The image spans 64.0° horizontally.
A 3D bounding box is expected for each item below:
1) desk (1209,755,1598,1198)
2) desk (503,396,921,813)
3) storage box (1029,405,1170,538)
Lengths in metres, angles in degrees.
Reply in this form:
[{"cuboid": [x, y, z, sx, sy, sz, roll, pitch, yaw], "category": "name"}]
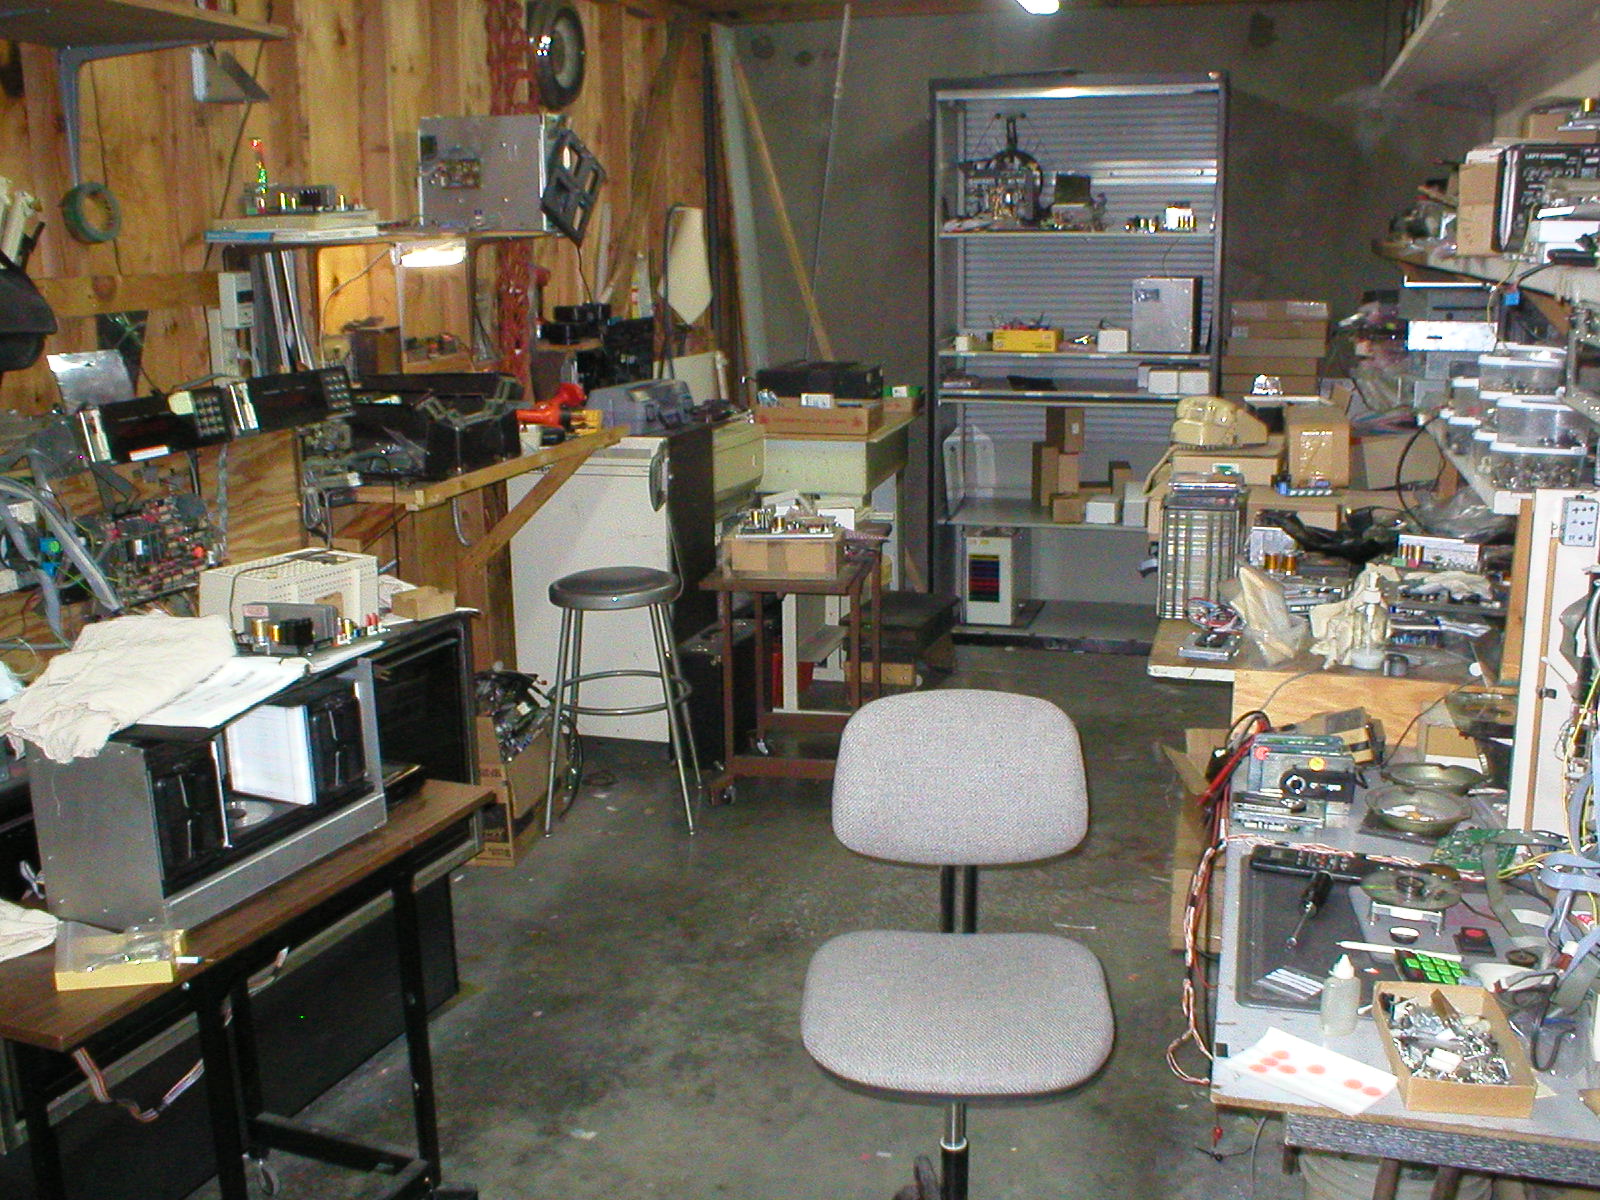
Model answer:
[{"cuboid": [0.970, 0.669, 2.028, 0.535, 0.190, 0.824, 4, 26, 12], "category": "desk"}, {"cuboid": [-0.356, -0.607, 5.645, 1.456, 1.709, 2.672, 0, 13, 6], "category": "desk"}, {"cuboid": [1.554, -0.759, 6.922, 0.579, 0.595, 0.596, 1, 17, 8], "category": "storage box"}]
